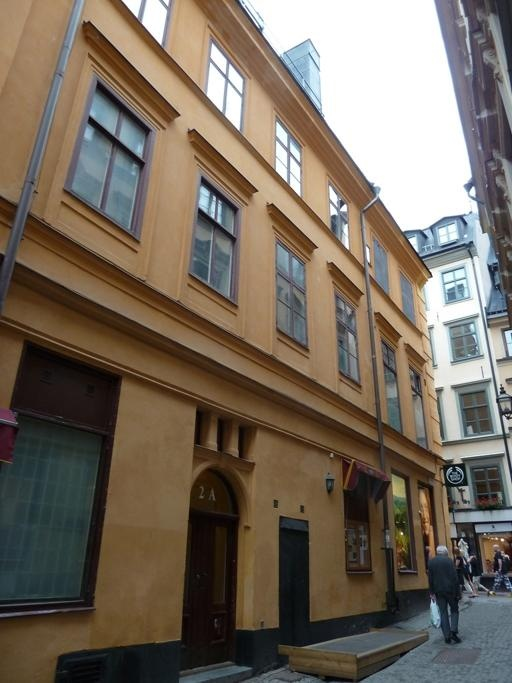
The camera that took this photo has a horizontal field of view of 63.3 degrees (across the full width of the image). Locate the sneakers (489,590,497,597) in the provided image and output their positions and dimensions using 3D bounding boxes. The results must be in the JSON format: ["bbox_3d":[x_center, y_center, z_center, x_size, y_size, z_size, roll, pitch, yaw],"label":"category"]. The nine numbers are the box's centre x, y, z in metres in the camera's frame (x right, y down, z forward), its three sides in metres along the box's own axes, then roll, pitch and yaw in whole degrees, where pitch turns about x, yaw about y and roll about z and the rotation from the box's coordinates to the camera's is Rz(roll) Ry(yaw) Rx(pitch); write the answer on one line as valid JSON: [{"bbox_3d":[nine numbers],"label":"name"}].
[{"bbox_3d":[9.080,9.622,15.963,0.290,0.171,0.200,26,-28,-37],"label":"sneakers"}]

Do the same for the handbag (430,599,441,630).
[{"bbox_3d":[3.074,4.629,7.122,0.137,0.426,0.295,-7,-24,21],"label":"handbag"}]

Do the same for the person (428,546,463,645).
[{"bbox_3d":[3.320,4.394,7.311,0.465,1.481,0.910,-8,-24,22],"label":"person"}]

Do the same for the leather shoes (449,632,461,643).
[{"bbox_3d":[3.316,4.929,6.916,0.156,0.126,0.276,-10,-29,21],"label":"leather shoes"}]

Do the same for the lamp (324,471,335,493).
[{"bbox_3d":[1.601,3.122,9.171,0.251,0.527,0.335,-9,-25,21],"label":"lamp"}]
